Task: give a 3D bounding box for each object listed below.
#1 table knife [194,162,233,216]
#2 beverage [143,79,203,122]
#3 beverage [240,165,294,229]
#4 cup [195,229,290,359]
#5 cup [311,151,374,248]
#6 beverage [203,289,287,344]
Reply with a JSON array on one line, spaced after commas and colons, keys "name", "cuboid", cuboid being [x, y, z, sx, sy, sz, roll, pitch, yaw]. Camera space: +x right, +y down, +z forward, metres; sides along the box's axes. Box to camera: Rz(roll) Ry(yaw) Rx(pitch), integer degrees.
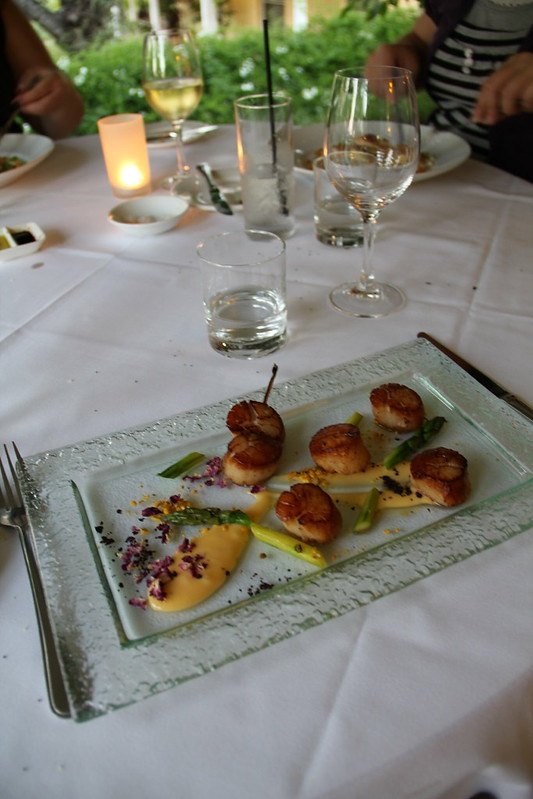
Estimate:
[{"name": "table knife", "cuboid": [-0.095, -0.405, 1.239, 0.042, 0.023, 0.199, -7, 35, -11]}, {"name": "beverage", "cuboid": [-0.182, -0.588, 1.263, 0.086, 0.063, 0.082, -8, 41, -1]}, {"name": "beverage", "cuboid": [0.000, -0.310, 1.024, 0.088, 0.094, 0.082, -2, 44, 3]}, {"name": "cup", "cuboid": [-0.026, -0.119, 0.794, 0.106, 0.110, 0.102, -1, 25, 0]}, {"name": "cup", "cuboid": [0.120, -0.312, 1.067, 0.088, 0.101, 0.098, -1, 22, -5]}, {"name": "beverage", "cuboid": [-0.031, -0.093, 0.763, 0.075, 0.043, 0.071, -9, 40, -9]}]
